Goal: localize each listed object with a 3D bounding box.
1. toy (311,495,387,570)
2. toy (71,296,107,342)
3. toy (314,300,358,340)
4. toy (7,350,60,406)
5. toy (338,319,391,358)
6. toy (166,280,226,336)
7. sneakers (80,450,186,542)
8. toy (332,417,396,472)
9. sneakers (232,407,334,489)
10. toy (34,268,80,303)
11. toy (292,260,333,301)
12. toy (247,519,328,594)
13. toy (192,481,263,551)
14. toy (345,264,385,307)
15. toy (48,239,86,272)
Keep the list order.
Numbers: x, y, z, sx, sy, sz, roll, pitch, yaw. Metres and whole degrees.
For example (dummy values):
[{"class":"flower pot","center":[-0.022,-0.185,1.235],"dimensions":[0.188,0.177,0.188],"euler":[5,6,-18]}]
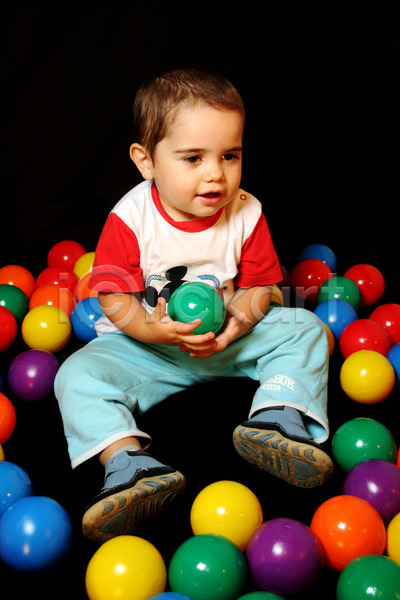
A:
[{"class":"toy","center":[0.203,0.344,0.733],"dimensions":[0.103,0.113,0.100],"euler":[-3,-20,3]},{"class":"toy","center":[-0.299,0.064,1.446],"dimensions":[0.130,0.142,0.126],"euler":[1,-11,-7]},{"class":"toy","center":[0.389,0.069,1.426],"dimensions":[0.116,0.125,0.110],"euler":[3,-15,-13]},{"class":"toy","center":[-0.414,0.193,1.193],"dimensions":[0.122,0.135,0.119],"euler":[-2,21,-3]},{"class":"toy","center":[0.432,0.102,1.270],"dimensions":[0.114,0.124,0.109],"euler":[0,-11,-2]},{"class":"toy","center":[-0.003,0.014,0.911],"dimensions":[0.105,0.115,0.101],"euler":[1,28,-26]},{"class":"sneakers","center":[-0.130,0.310,0.796],"dimensions":[0.173,0.086,0.136],"euler":[-14,28,-34]},{"class":"toy","center":[0.308,0.274,0.935],"dimensions":[0.104,0.115,0.102],"euler":[15,-22,-18]},{"class":"sneakers","center":[0.172,0.274,0.931],"dimensions":[0.184,0.100,0.158],"euler":[12,25,22]},{"class":"toy","center":[-0.471,-0.059,1.611],"dimensions":[0.118,0.132,0.120],"euler":[6,7,21]},{"class":"toy","center":[0.390,-0.064,1.625],"dimensions":[0.132,0.144,0.126],"euler":[2,2,16]},{"class":"toy","center":[0.117,0.362,0.675],"dimensions":[0.101,0.085,0.084],"euler":[13,26,23]},{"class":"toy","center":[0.028,0.348,0.763],"dimensions":[0.089,0.098,0.088],"euler":[-4,-19,9]},{"class":"toy","center":[0.568,-0.050,1.676],"dimensions":[0.151,0.163,0.145],"euler":[-2,0,-31]},{"class":"toy","center":[-0.482,-0.159,1.798],"dimensions":[0.117,0.112,0.134],"euler":[0,-36,-8]}]
